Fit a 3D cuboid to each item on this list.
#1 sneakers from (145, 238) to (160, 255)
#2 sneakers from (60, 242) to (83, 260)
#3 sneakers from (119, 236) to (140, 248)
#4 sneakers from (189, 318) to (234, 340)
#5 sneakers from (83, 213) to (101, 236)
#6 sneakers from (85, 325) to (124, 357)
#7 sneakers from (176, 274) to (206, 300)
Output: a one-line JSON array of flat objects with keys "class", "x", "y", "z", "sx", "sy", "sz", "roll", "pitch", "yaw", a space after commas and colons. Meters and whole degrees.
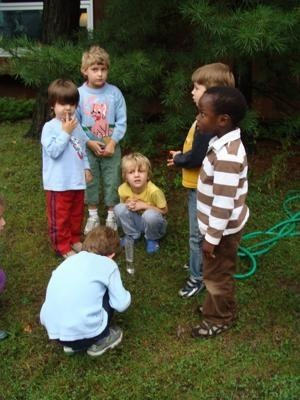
[{"class": "sneakers", "x": 0.022, "y": 0.398, "z": 3.534, "sx": 0.124, "sy": 0.080, "sz": 0.220, "roll": -1, "pitch": 8, "yaw": -3}, {"class": "sneakers", "x": -0.644, "y": 0.411, "z": 3.440, "sx": 0.130, "sy": 0.041, "sz": 0.135, "roll": -28, "pitch": 20, "yaw": -36}, {"class": "sneakers", "x": -0.214, "y": 0.358, "z": 3.680, "sx": 0.088, "sy": 0.131, "sz": 0.043, "roll": 22, "pitch": -9, "yaw": 12}, {"class": "sneakers", "x": 0.357, "y": 0.776, "z": 2.511, "sx": 0.214, "sy": 0.090, "sz": 0.091, "roll": -3, "pitch": 11, "yaw": -9}, {"class": "sneakers", "x": -0.494, "y": 0.206, "z": 3.489, "sx": 0.098, "sy": 0.093, "sz": 0.223, "roll": 14, "pitch": 43, "yaw": 12}, {"class": "sneakers", "x": -0.247, "y": 0.811, "z": 2.431, "sx": 0.092, "sy": 0.107, "sz": 0.239, "roll": 27, "pitch": 34, "yaw": 27}, {"class": "sneakers", "x": 0.293, "y": 0.626, "z": 2.981, "sx": 0.084, "sy": 0.095, "sz": 0.233, "roll": 12, "pitch": 16, "yaw": 40}]
